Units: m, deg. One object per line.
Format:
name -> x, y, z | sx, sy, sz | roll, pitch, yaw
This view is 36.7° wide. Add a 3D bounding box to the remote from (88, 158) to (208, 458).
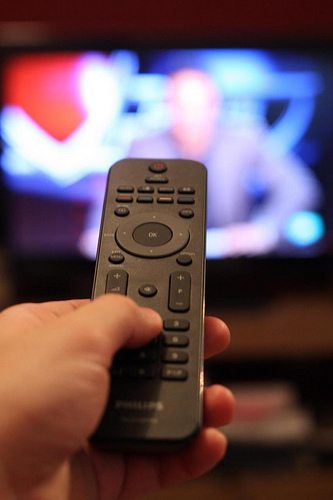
remote -> -0.014, 0.026, 0.503 | 0.101, 0.061, 0.297 | 1, 52, 4
